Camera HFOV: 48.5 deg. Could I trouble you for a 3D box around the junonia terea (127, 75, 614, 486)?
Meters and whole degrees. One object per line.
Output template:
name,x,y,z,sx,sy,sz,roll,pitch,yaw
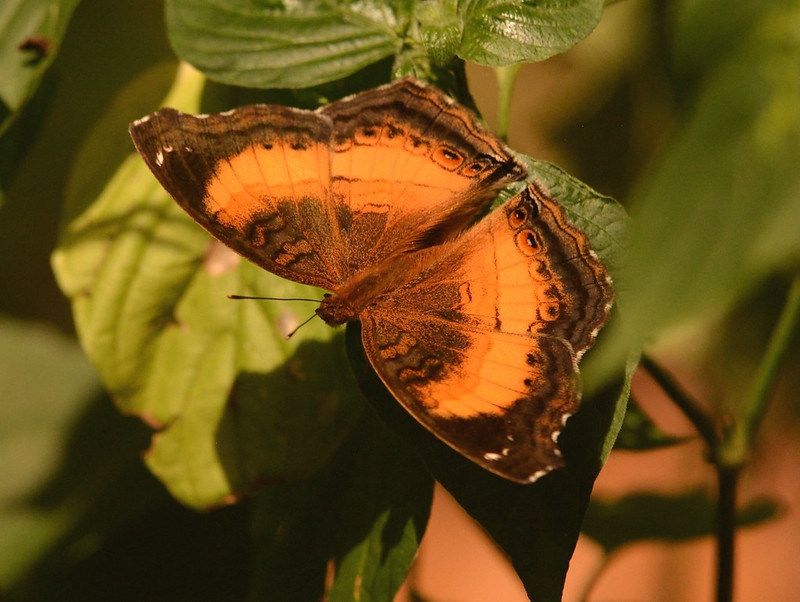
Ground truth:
junonia terea,0.028,-0.062,1.209,0.405,0.161,0.746,-40,83,-19
